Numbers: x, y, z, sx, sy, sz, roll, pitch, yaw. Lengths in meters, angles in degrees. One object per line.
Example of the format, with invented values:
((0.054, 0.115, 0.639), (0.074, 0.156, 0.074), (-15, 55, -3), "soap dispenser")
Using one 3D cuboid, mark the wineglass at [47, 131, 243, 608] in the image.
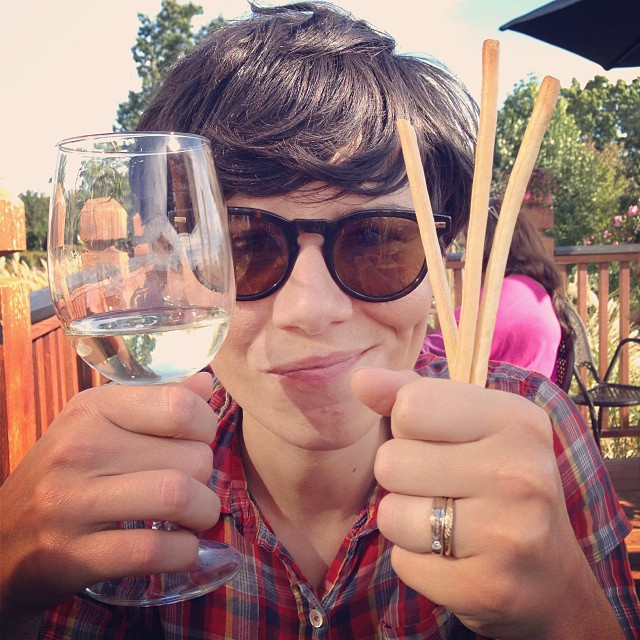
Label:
((-0.280, -0.084, 1.049), (0.284, 0.412, 0.192), (-4, 10, -19), "wineglass")
